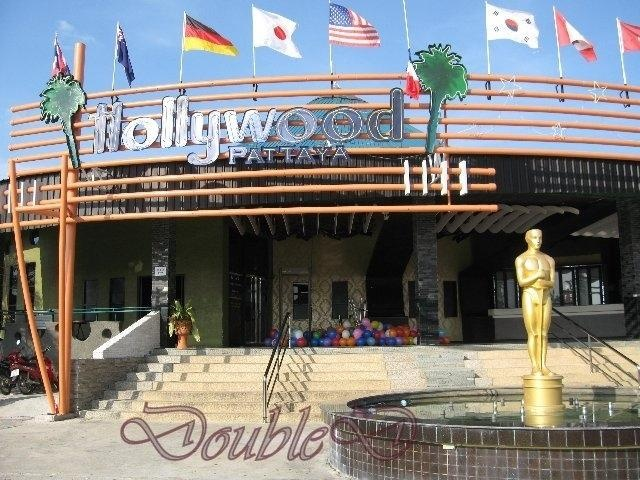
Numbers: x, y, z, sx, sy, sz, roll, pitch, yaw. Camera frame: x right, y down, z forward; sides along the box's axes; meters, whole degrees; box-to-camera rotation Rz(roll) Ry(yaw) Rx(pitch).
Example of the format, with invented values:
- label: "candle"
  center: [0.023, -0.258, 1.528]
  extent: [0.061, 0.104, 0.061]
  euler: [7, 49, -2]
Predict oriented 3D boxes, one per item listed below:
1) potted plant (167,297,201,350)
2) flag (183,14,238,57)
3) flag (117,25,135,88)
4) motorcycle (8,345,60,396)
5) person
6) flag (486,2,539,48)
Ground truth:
- label: "potted plant"
  center: [-3.745, 2.305, 17.755]
  extent: [0.845, 1.222, 0.758]
  euler: [1, -3, -29]
- label: "flag"
  center: [-3.001, -5.510, 17.273]
  extent: [1.230, 1.090, 0.489]
  euler: [0, -6, -11]
- label: "flag"
  center: [-5.275, -5.049, 17.564]
  extent: [0.444, 2.030, 1.712]
  euler: [1, -6, -17]
- label: "motorcycle"
  center: [-7.696, 3.559, 17.303]
  extent: [1.418, 1.097, 0.828]
  euler: [-2, -6, 3]
- label: "person"
  center: [3.507, 0.976, 10.551]
  extent: [0.588, 2.333, 0.566]
  euler: [-3, -6, 17]
- label: "flag"
  center: [5.299, -5.946, 18.048]
  extent: [1.310, 1.303, 0.247]
  euler: [-2, -6, 8]
